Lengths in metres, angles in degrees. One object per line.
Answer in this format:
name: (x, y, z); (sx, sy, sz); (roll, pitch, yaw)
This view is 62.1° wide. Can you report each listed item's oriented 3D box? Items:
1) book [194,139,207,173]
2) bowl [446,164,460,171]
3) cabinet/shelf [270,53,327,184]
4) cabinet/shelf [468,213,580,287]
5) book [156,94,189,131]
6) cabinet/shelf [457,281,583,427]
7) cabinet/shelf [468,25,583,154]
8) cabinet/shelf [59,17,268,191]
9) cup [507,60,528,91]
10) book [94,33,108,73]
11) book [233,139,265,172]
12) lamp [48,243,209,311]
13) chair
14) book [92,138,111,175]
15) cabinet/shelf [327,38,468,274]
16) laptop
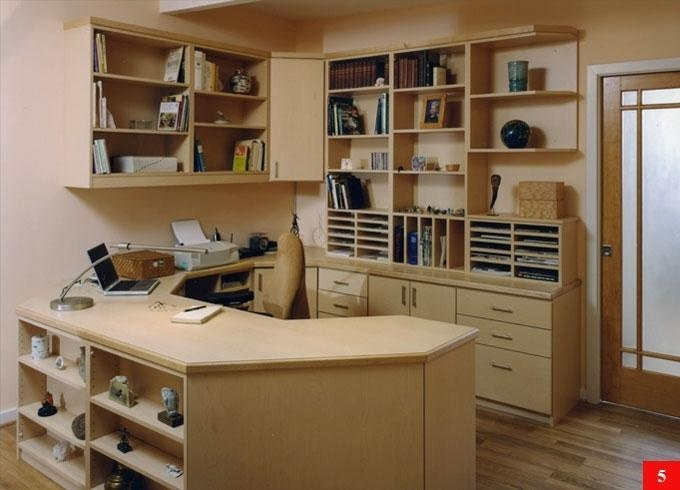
book: (-1.208, -0.768, 4.865); (0.122, 0.325, 0.338); (-2, 0, -14)
bowl: (0.958, -0.658, 4.844); (0.083, 0.040, 0.084); (-1, 2, 0)
cabinet/shelf: (-0.396, -1.187, 5.275); (0.515, 1.117, 0.175); (0, 11, -4)
cabinet/shelf: (1.421, 0.021, 4.533); (0.748, 0.460, 0.302); (5, 8, 33)
book: (-1.367, -1.085, 4.639); (0.342, 0.337, 0.127); (3, 3, 18)
cabinet/shelf: (1.194, 0.941, 4.513); (0.845, 1.008, 0.584); (12, -30, -3)
cabinet/shelf: (1.447, -1.192, 4.558); (0.842, 1.079, 0.431); (7, 11, 35)
cabinet/shelf: (-1.324, -1.143, 4.756); (1.620, 1.135, 0.428); (-5, 14, -39)
cup: (1.390, -1.324, 4.460); (0.181, 0.233, 0.172); (-3, 8, 0)
book: (-1.807, -1.456, 4.256); (0.074, 0.306, 0.172); (-2, 12, -12)
book: (-0.834, -0.822, 5.220); (0.328, 0.321, 0.195); (2, 2, 17)
lamp: (-1.412, 0.219, 3.798); (0.948, 0.416, 0.271); (2, 3, -18)
chair: (-0.450, 0.270, 3.930); (0.407, 0.667, 0.393); (-11, 12, -33)
book: (-1.801, -0.665, 4.263); (0.105, 0.263, 0.085); (-1, 12, -6)
cabinet/shelf: (0.516, -0.798, 5.087); (1.446, 1.858, 0.493); (7, 13, 31)
laptop: (-1.547, 0.223, 4.015); (0.384, 0.282, 0.453); (1, 7, -11)
